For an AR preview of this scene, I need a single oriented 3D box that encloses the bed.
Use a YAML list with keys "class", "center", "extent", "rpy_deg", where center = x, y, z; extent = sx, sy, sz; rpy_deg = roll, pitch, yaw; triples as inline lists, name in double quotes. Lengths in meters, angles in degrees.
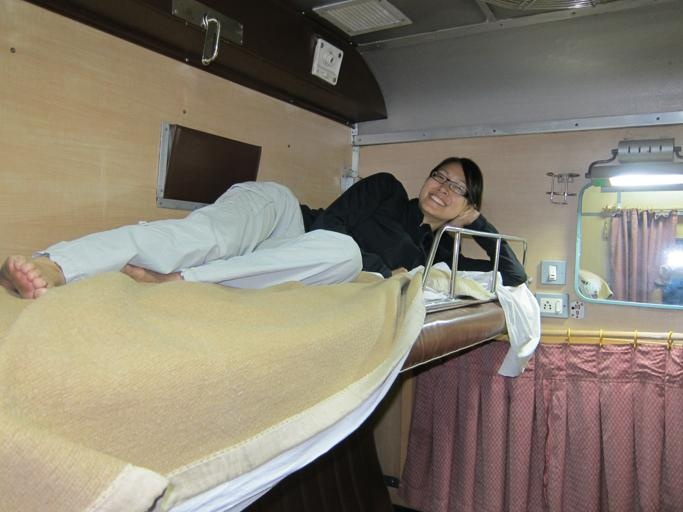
- class: "bed"
  center: [-0.227, 0.136, 1.527]
  extent: [0.826, 0.194, 0.815]
  rpy_deg: [-6, 12, -41]
